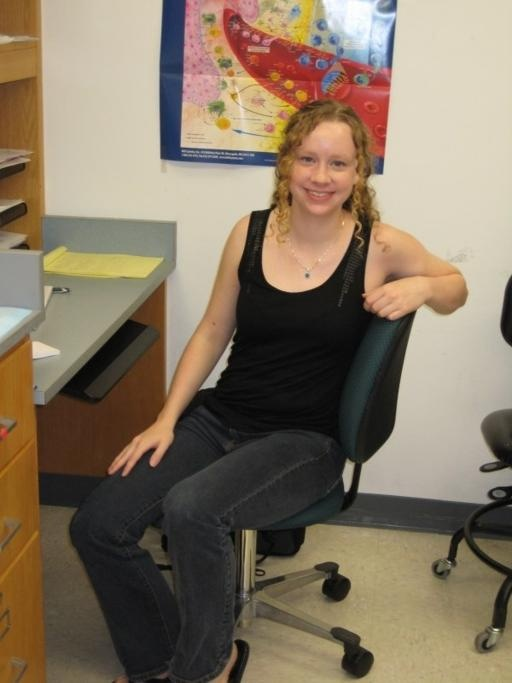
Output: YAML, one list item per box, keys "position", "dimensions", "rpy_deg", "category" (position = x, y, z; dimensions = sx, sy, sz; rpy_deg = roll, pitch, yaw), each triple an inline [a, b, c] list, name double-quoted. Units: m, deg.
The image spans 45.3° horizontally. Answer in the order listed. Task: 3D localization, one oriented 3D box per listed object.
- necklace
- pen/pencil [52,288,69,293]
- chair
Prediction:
- position: [0.110, -0.211, 1.290]
  dimensions: [0.122, 0.050, 0.119]
  rpy_deg: [5, 60, 17]
  category: "necklace"
- position: [-0.495, -0.128, 1.544]
  dimensions: [0.047, 0.010, 0.025]
  rpy_deg: [2, 11, 3]
  category: "pen/pencil"
- position: [0.175, 0.210, 1.708]
  dimensions: [0.805, 1.045, 0.731]
  rpy_deg: [4, 16, -1]
  category: "chair"
